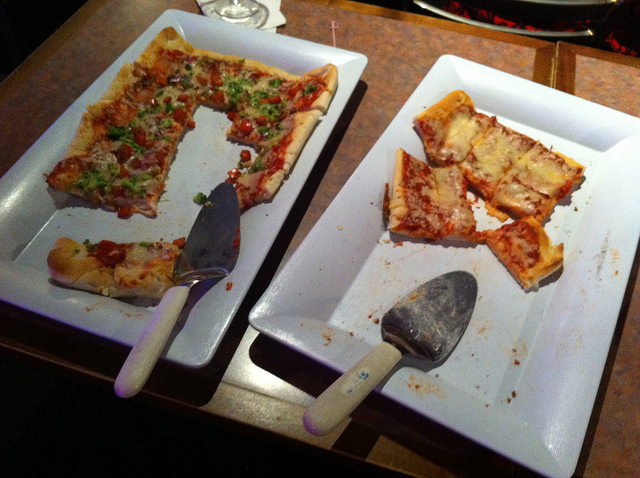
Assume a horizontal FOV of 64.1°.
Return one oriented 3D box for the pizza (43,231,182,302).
[{"bbox_3d":[-1.191,0.155,2.862,0.686,0.202,0.377,7,60,0],"label":"pizza"}]
